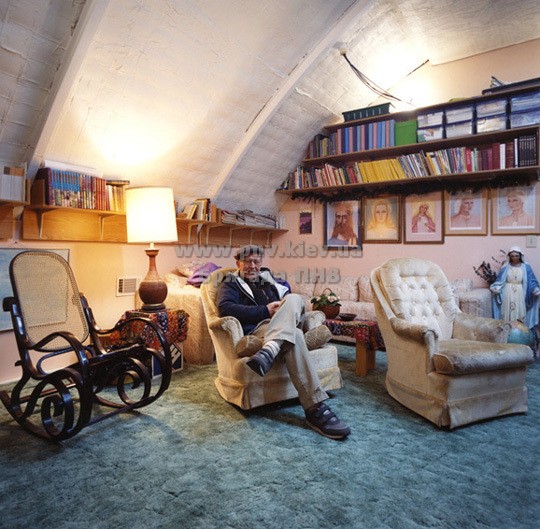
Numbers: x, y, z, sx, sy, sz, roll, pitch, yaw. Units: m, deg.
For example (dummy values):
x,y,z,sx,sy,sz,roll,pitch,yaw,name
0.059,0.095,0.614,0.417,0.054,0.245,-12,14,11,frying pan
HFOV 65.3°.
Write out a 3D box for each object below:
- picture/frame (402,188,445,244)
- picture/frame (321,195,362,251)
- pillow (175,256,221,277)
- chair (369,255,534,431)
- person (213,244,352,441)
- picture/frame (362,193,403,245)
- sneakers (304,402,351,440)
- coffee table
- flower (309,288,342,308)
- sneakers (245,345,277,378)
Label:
x,y,z,sx,sy,sz,roll,pitch,yaw,name
1.722,-0.519,4.707,0.449,0.556,0.078,6,9,43,picture/frame
0.923,-0.536,5.275,0.819,0.805,0.069,3,4,34,picture/frame
-0.730,0.041,4.394,0.287,0.089,0.281,4,8,36,pillow
1.169,0.452,2.786,0.748,0.922,0.856,-2,7,-13,chair
0.030,0.413,2.774,0.705,1.036,1.176,-2,6,-11,person
1.331,-0.541,4.989,0.478,0.552,0.093,6,9,43,picture/frame
0.310,0.883,2.366,0.117,0.113,0.290,2,-7,-38,sneakers
0.721,0.678,3.489,0.476,0.298,0.465,-3,-7,33,coffee table
0.490,0.301,3.702,0.225,0.117,0.201,4,-10,3,flower
-0.031,0.526,2.358,0.089,0.114,0.255,38,-3,11,sneakers
